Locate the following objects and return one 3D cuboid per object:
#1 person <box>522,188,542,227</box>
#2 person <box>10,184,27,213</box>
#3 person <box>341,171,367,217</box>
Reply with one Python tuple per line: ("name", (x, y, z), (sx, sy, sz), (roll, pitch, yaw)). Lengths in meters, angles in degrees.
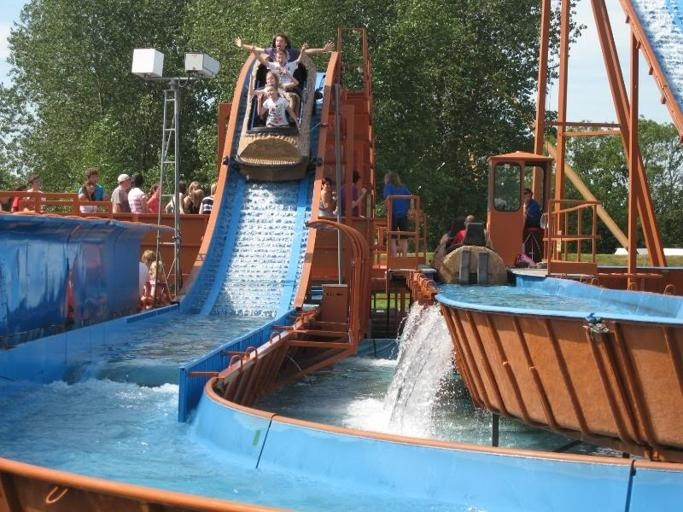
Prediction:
("person", (4.477, -1.107, 19.045), (0.371, 0.853, 0.583), (1, 12, 14))
("person", (-6.024, -1.107, 15.172), (0.207, 0.452, 3.121), (-6, 12, -20))
("person", (0.290, -1.081, 18.594), (0.474, 1.680, 0.564), (-8, 28, -12))
